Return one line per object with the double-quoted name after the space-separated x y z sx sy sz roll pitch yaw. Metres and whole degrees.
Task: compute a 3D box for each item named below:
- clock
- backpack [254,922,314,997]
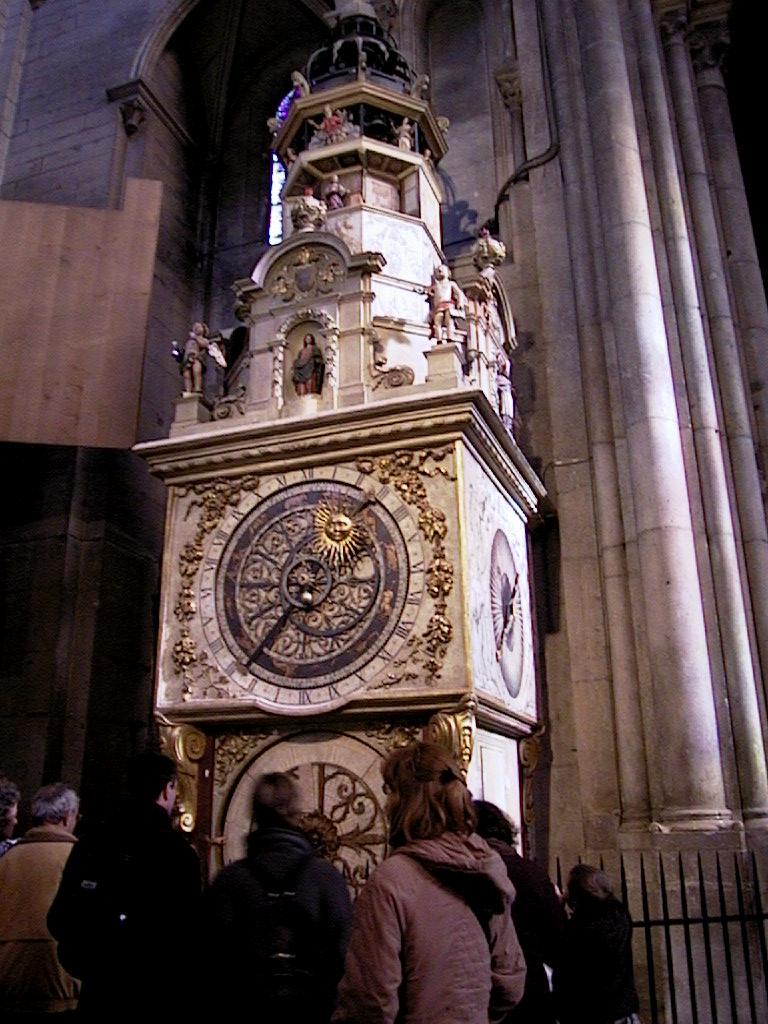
-0.360 0.514 6.419 1.651 1.279 0.199 -9 -29 21 "clock"
-0.282 1.274 3.014 0.197 0.286 0.183 0 -22 -3 "backpack"
